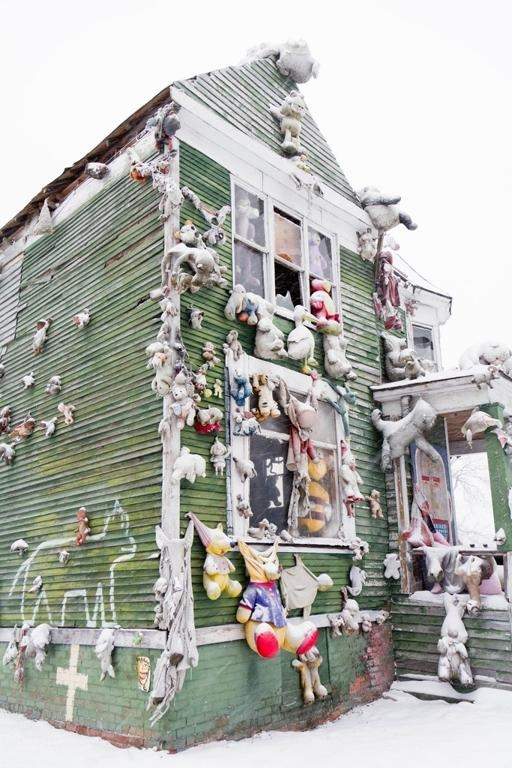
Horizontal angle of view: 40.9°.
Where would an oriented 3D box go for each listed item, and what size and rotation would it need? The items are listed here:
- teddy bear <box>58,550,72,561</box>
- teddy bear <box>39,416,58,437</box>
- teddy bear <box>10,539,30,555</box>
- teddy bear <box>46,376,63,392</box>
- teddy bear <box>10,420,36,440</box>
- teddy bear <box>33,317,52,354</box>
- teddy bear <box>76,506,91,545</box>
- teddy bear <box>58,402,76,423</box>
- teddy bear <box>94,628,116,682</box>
[{"bbox_3d":[-2.048,1.857,7.398,0.134,0.130,0.067,6,-1,39],"label":"teddy bear"},{"bbox_3d":[-2.500,0.504,8.291,0.116,0.247,0.251,34,-24,-29],"label":"teddy bear"},{"bbox_3d":[-2.818,1.959,8.249,0.212,0.212,0.116,-1,1,36],"label":"teddy bear"},{"bbox_3d":[-2.404,-0.005,8.370,0.173,0.216,0.119,-37,-74,23],"label":"teddy bear"},{"bbox_3d":[-2.968,0.575,8.735,0.442,0.250,0.093,-9,-11,42],"label":"teddy bear"},{"bbox_3d":[-2.800,-0.683,8.995,0.144,0.483,0.404,8,-20,-31],"label":"teddy bear"},{"bbox_3d":[-1.832,1.482,7.232,0.108,0.395,0.315,8,-20,-29],"label":"teddy bear"},{"bbox_3d":[-2.175,0.321,7.978,0.186,0.247,0.073,-25,-20,15],"label":"teddy bear"},{"bbox_3d":[-1.383,2.493,6.347,0.218,0.425,0.160,2,-17,-32],"label":"teddy bear"}]
